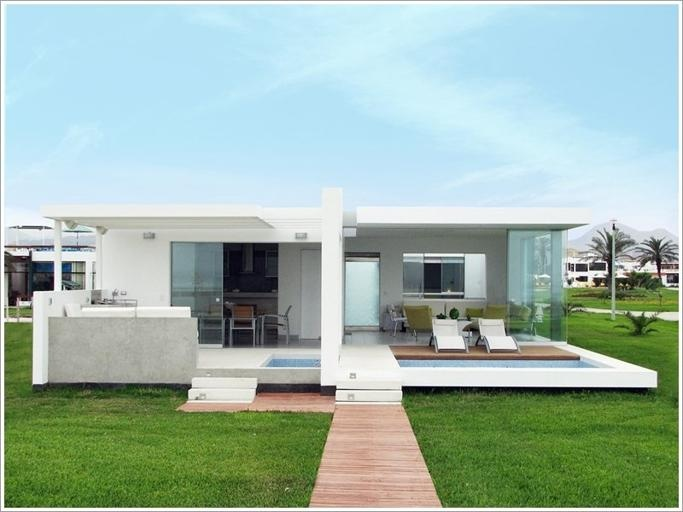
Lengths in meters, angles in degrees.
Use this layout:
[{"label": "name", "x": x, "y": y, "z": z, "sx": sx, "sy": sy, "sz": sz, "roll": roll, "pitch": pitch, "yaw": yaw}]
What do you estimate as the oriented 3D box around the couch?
[{"label": "couch", "x": -5.726, "y": 2.051, "z": 16.665, "sx": 3.838, "sy": 2.352, "sz": 0.748, "roll": -1, "pitch": -3, "yaw": -3}]
